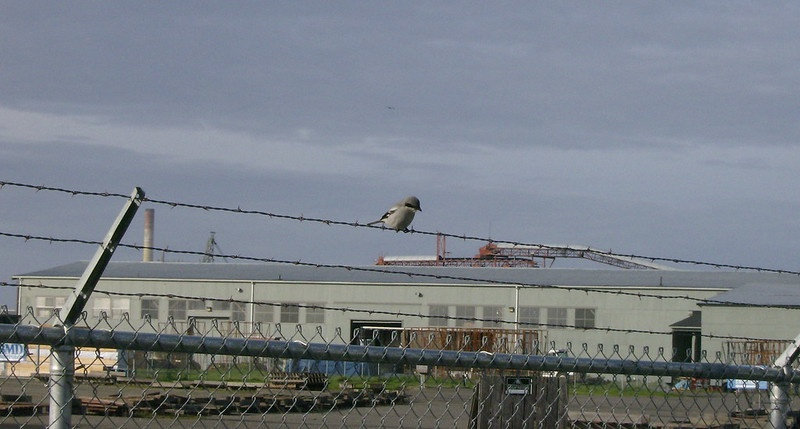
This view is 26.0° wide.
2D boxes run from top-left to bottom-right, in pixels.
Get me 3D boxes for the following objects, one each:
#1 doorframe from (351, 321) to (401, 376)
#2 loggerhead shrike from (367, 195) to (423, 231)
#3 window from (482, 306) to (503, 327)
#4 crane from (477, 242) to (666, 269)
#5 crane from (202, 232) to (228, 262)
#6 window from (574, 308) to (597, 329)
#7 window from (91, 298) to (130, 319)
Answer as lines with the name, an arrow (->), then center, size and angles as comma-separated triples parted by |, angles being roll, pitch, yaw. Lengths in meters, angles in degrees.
doorframe -> -0.867, 5.304, 67.826 | 3.629, 2.497, 1.931 | 0, -5, 1
loggerhead shrike -> -0.211, 0.062, 63.646 | 2.815, 1.210, 0.926 | -9, -8, 44
window -> 4.470, 4.819, 82.020 | 1.272, 1.315, 0.145 | 1, -11, -1
crane -> 9.726, 2.257, 97.212 | 10.854, 1.164, 0.875 | 2, 3, 1
crane -> -7.560, 1.352, 70.146 | 0.916, 1.346, 0.726 | 10, 24, 25
window -> 8.778, 4.792, 81.173 | 1.362, 1.365, 0.050 | 0, 9, 9
window -> -13.628, 4.426, 81.654 | 1.792, 1.032, 1.738 | 3, -5, -19
